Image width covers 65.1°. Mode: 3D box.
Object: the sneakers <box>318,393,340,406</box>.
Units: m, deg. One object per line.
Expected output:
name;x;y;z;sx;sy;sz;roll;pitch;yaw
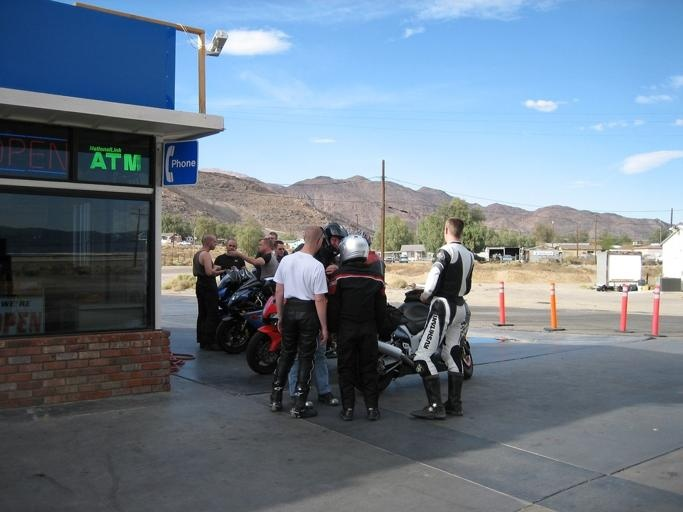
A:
sneakers;-0.169;1.928;7.128;0.119;0.119;0.299;5;-5;-44

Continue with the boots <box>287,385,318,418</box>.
boots;-0.453;1.762;6.558;0.315;0.389;0.402;1;1;-3

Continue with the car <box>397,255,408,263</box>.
car;14.382;0.983;123.337;1.629;1.391;2.674;-2;-9;5

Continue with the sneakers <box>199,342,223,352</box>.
sneakers;-2.646;1.860;10.821;0.506;0.196;0.167;-6;-2;23

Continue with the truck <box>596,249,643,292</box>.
truck;20.758;1.241;39.918;3.223;2.893;1.795;0;-3;-1

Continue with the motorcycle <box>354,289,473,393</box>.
motorcycle;1.466;1.140;7.852;2.210;1.146;1.004;-11;3;-37

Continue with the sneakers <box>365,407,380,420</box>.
sneakers;0.391;1.896;6.421;0.153;0.104;0.136;1;1;-2

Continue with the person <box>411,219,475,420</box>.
person;1.283;0.754;6.610;0.396;1.870;0.758;2;1;44

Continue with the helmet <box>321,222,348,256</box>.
helmet;-0.123;-0.285;8.492;0.396;0.449;0.497;1;15;12

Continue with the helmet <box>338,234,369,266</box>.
helmet;0.148;-0.079;6.566;0.312;0.348;0.378;1;5;-26
